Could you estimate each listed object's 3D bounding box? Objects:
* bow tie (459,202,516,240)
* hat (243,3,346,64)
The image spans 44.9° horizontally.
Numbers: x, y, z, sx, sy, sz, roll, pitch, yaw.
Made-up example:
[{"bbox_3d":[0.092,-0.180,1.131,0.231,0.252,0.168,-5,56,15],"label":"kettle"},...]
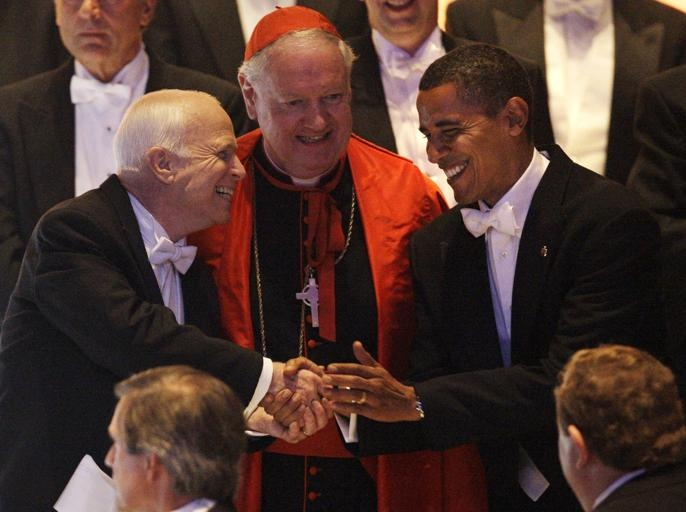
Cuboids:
[{"bbox_3d":[0.686,-0.167,3.953,0.172,0.174,0.223,-17,23,-34],"label":"bow tie"},{"bbox_3d":[-0.287,-1.164,4.179,0.486,0.283,0.259,-16,29,-22],"label":"hat"}]
